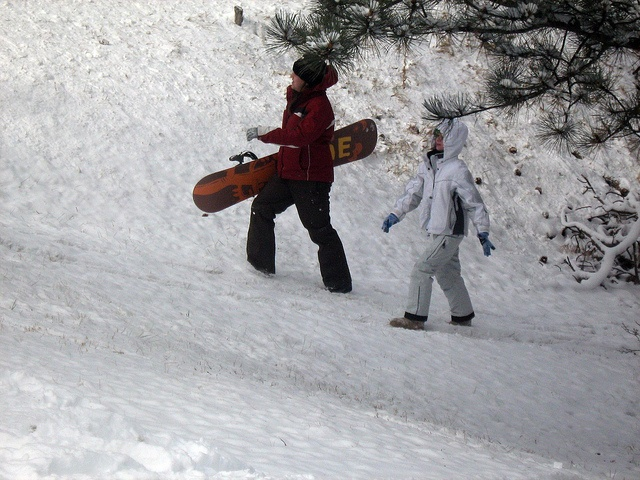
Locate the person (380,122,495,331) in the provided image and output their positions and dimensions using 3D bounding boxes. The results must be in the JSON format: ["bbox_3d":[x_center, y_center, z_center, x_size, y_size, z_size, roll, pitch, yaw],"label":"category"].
[{"bbox_3d":[1.395,-0.173,8.419,1.152,2.703,1.426,5,37,5],"label":"person"}]

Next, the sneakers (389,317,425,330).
[{"bbox_3d":[0.993,0.921,8.510,0.406,0.161,0.145,12,5,5],"label":"sneakers"}]

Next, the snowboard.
[{"bbox_3d":[-0.541,-0.989,9.783,2.893,0.637,0.411,-23,39,-22],"label":"snowboard"}]

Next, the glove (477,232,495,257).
[{"bbox_3d":[1.894,0.020,8.257,0.119,0.287,0.196,-29,10,-19],"label":"glove"}]
